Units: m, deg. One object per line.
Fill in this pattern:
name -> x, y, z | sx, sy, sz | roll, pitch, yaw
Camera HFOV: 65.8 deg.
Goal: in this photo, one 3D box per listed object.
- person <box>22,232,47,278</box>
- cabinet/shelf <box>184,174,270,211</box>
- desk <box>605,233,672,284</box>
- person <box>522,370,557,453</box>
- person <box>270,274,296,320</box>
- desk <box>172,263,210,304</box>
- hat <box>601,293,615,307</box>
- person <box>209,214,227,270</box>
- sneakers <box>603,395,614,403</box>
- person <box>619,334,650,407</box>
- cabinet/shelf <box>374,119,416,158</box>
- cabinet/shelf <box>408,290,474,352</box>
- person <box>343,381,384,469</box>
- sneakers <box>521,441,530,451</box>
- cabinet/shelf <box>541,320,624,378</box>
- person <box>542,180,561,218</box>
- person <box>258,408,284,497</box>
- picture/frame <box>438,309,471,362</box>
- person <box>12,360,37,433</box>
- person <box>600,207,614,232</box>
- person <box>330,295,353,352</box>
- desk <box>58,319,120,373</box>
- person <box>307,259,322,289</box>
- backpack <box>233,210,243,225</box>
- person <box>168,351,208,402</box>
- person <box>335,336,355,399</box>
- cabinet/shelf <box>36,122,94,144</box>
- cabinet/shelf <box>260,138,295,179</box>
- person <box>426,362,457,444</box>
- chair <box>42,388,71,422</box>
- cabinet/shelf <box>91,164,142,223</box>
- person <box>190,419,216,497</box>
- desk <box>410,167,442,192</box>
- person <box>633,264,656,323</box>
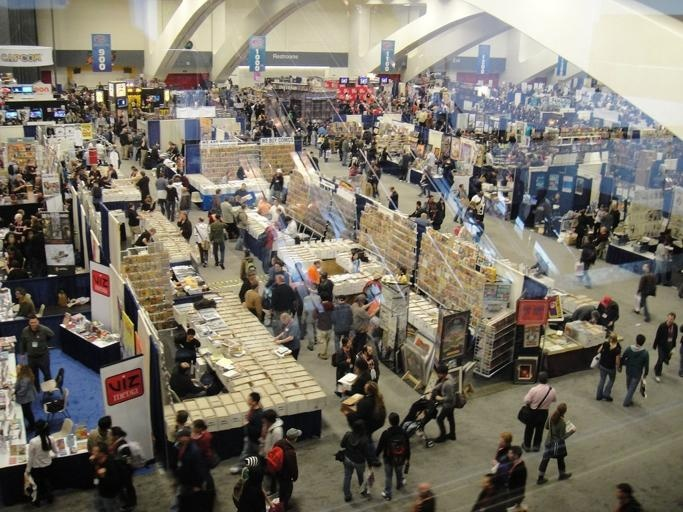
person -> -7.743, -0.099, 13.315 | 0.469, 1.023, 1.071 | -8, 18, -32
cabinet/shelf -> -4.113, -2.457, 19.583 | 1.855, 0.679, 1.866 | -8, 21, -27
desk -> 8.688, -0.001, 15.279 | 1.406, 0.605, 1.412 | -13, 30, -28
person -> 3.175, 2.542, 8.654 | 0.509, 1.361, 0.462 | 9, 10, 18
person -> -1.289, 1.049, 11.561 | 0.568, 1.374, 0.438 | -6, 26, -21
desk -> -3.526, 0.636, 12.188 | 0.638, 0.317, 1.526 | -8, 30, -24
hat -> 6.154, 1.021, 12.221 | 0.221, 0.104, 0.315 | -21, 4, 17
person -> -3.548, -0.439, 15.106 | 0.403, 1.514, 0.647 | -3, 15, -15
sneakers -> 5.124, 2.743, 10.153 | 0.210, 0.120, 0.074 | -2, 12, -5
person -> 5.536, 2.073, 9.985 | 0.447, 1.490, 0.840 | 11, 18, 33
cabinet/shelf -> 2.728, -6.075, 26.861 | 1.882, 1.939, 1.176 | -4, 23, 1
cabinet/shelf -> 1.756, 1.383, 11.372 | 0.667, 0.259, 1.311 | -7, 39, -28
person -> 0.312, 2.598, 8.137 | 0.680, 1.358, 0.559 | 5, 3, 26
sneakers -> 3.064, 3.150, 8.778 | 0.071, 0.086, 0.201 | 1, 4, -5
cabinet/shelf -> 4.736, 1.909, 10.952 | 1.338, 0.696, 1.354 | -18, 29, -16
person -> 7.741, -2.051, 18.901 | 0.716, 0.512, 2.223 | 11, 38, 20
person -> -1.005, 2.835, 7.595 | 0.329, 1.166, 0.457 | 5, -6, -31
picture/frame -> 2.048, 1.443, 9.925 | 0.661, 0.996, 0.367 | -6, 21, -22
person -> -5.294, 2.354, 8.767 | 0.386, 1.113, 0.396 | 17, 18, 40
person -> 8.390, -1.130, 16.695 | 0.300, 0.946, 0.274 | 4, 41, 18
person -> 0.011, 1.411, 10.904 | 0.431, 1.312, 0.416 | -3, 22, -8
desk -> -4.968, 1.790, 10.480 | 0.896, 0.448, 0.470 | 19, 23, 33
person -> -0.654, 0.440, 12.594 | 0.275, 0.839, 0.351 | -18, 29, -39
backpack -> -3.179, -1.201, 16.186 | 0.239, 0.458, 0.351 | -2, 19, -44
person -> -2.452, 1.932, 8.963 | 0.416, 0.862, 0.487 | -5, 16, 43
person -> 0.104, 2.101, 9.781 | 0.412, 1.139, 0.481 | 14, 24, 35
cabinet/shelf -> -11.468, -5.183, 22.245 | 1.947, 0.714, 1.918 | 10, 14, 27
cabinet/shelf -> -2.851, -4.269, 22.466 | 1.607, 1.620, 0.861 | -8, 31, -20
person -> 1.714, 2.468, 8.833 | 0.424, 1.262, 0.390 | 5, 8, 44
chair -> -4.987, 2.613, 9.229 | 0.376, 0.530, 0.340 | -3, 52, -32
cabinet/shelf -> -7.220, -2.068, 17.260 | 1.814, 0.464, 1.876 | 14, 33, 17
person -> -1.917, 2.683, 7.145 | 0.338, 1.056, 0.286 | 6, 14, 25
desk -> 3.632, -3.301, 23.039 | 1.150, 0.895, 2.388 | 2, 16, 3
person -> 7.651, 0.871, 13.260 | 0.399, 1.225, 1.092 | 10, 17, 29
